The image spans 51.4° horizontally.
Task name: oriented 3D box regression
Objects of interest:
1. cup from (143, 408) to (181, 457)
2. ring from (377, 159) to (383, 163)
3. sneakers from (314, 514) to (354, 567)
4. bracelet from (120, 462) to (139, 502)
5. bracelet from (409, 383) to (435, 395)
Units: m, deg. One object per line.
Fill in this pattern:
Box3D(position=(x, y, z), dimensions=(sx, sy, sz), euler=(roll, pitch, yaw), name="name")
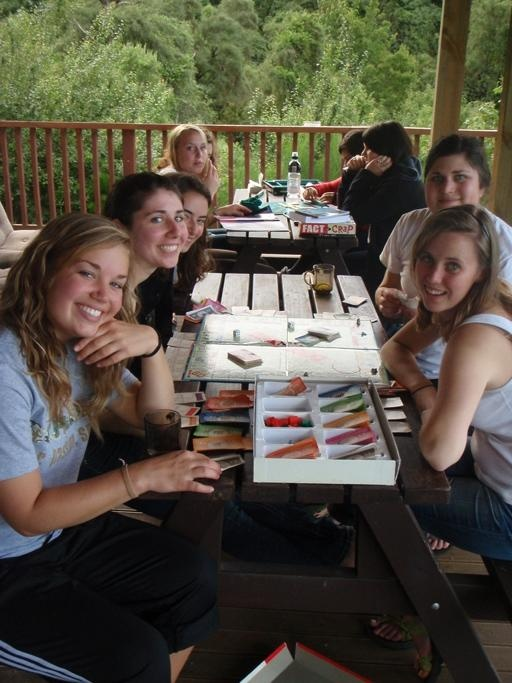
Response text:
Box3D(position=(-0.168, 0.187, 1.101), dimensions=(0.091, 0.090, 0.088), euler=(0, 20, 0), name="cup")
Box3D(position=(0.824, -1.200, 3.540), dimensions=(0.020, 0.023, 0.008), euler=(-2, 1, -1), name="ring")
Box3D(position=(0.265, 0.587, 1.557), dimensions=(0.090, 0.043, 0.115), euler=(3, 63, 43), name="sneakers")
Box3D(position=(-0.237, 0.256, 0.991), dimensions=(0.025, 0.068, 0.072), euler=(-10, 24, -17), name="bracelet")
Box3D(position=(0.420, 0.124, 1.335), dimensions=(0.041, 0.009, 0.041), euler=(-12, 12, 33), name="bracelet")
